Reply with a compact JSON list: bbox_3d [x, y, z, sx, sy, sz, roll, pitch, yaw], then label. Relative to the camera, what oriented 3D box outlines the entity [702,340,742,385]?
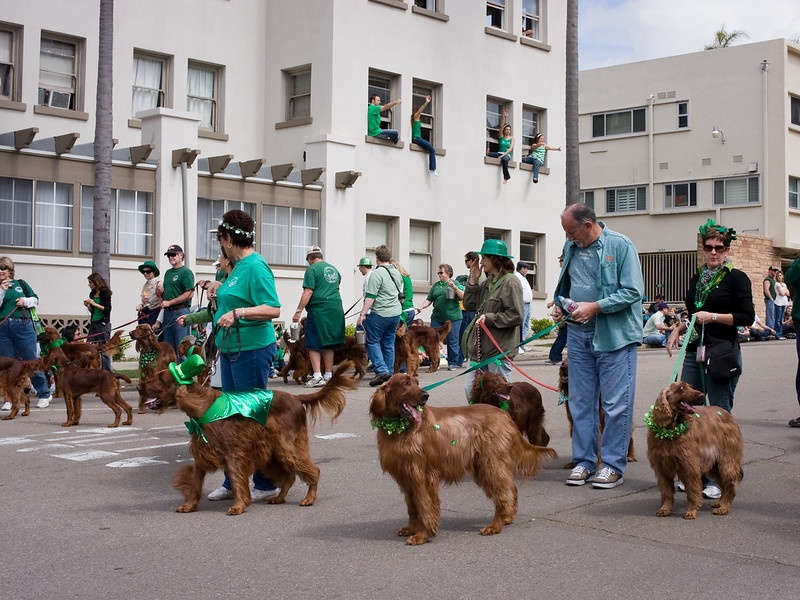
[{"bbox_3d":[3.256,0.634,9.580,0.345,0.491,0.271,-12,2,-15],"label":"entity"}]

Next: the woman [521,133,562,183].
[{"bbox_3d":[4.338,-4.433,29.049,1.086,1.569,0.777,16,-9,-14],"label":"woman"}]

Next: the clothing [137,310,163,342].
[{"bbox_3d":[-3.995,0.412,15.140,0.439,0.625,0.354,-2,-6,2],"label":"clothing"}]

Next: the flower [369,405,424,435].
[{"bbox_3d":[-0.052,1.030,7.812,0.290,0.106,0.280,-8,6,-42],"label":"flower"}]

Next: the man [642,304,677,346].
[{"bbox_3d":[6.351,0.615,23.079,1.006,1.349,1.031,0,3,17],"label":"man"}]

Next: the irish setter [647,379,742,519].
[{"bbox_3d":[2.731,1.349,8.673,0.917,1.218,0.440,-2,2,-29],"label":"irish setter"}]

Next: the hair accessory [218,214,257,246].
[{"bbox_3d":[-1.565,-0.723,9.187,0.342,0.348,0.282,8,10,8],"label":"hair accessory"}]

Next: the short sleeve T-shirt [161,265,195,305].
[{"bbox_3d":[-3.688,-0.233,15.731,0.705,0.733,0.399,-1,-7,27],"label":"short sleeve T-shirt"}]

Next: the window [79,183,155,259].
[{"bbox_3d":[-6.124,-1.751,20.263,0.184,1.824,1.733,-1,-2,44],"label":"window"}]

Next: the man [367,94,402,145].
[{"bbox_3d":[-0.436,-4.831,25.329,0.826,1.406,0.825,-4,0,-11],"label":"man"}]

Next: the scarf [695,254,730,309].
[{"bbox_3d":[3.242,-0.146,9.872,0.263,0.524,0.389,18,-7,-43],"label":"scarf"}]

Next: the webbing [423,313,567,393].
[{"bbox_3d":[1.371,0.825,14.463,3.370,0.365,0.470,-20,-28,-44],"label":"webbing"}]

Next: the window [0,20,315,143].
[{"bbox_3d":[-6.056,-6.049,23.636,7.479,4.090,1.482,-3,2,-39],"label":"window"}]

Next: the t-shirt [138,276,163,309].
[{"bbox_3d":[-4.408,-0.136,16.753,0.361,0.633,0.623,5,-6,-34],"label":"t-shirt"}]

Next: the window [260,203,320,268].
[{"bbox_3d":[-2.701,-1.584,22.747,2.075,2.121,0.222,1,-2,-42],"label":"window"}]
